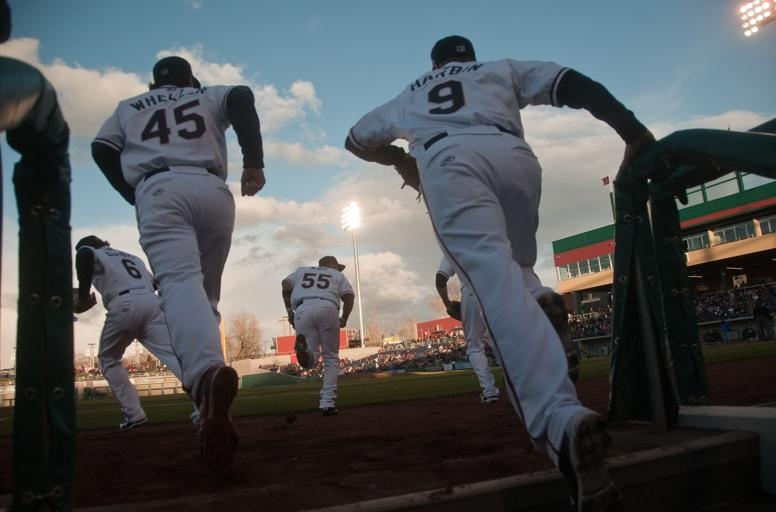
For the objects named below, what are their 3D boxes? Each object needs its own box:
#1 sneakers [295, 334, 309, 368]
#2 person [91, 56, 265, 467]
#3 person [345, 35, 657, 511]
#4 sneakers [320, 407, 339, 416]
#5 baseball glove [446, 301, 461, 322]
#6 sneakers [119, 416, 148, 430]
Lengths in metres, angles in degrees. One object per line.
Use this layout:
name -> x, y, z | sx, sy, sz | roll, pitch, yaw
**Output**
sneakers -> -1.205, 1.376, 7.021 | 0.200, 0.509, 0.219 | -9, 0, -13
person -> -1.371, 0.018, 3.463 | 0.978, 2.725, 0.692 | -10, -7, 28
person -> 0.663, -0.153, 2.983 | 0.963, 2.800, 1.363 | -1, -8, -45
sneakers -> -0.748, 2.015, 6.320 | 0.110, 0.128, 0.309 | -2, -6, 25
baseball glove -> 1.110, 0.877, 7.797 | 0.236, 0.333, 0.122 | -13, -9, 43
sneakers -> -3.087, 2.030, 5.935 | 0.128, 0.164, 0.346 | -13, -15, 43
